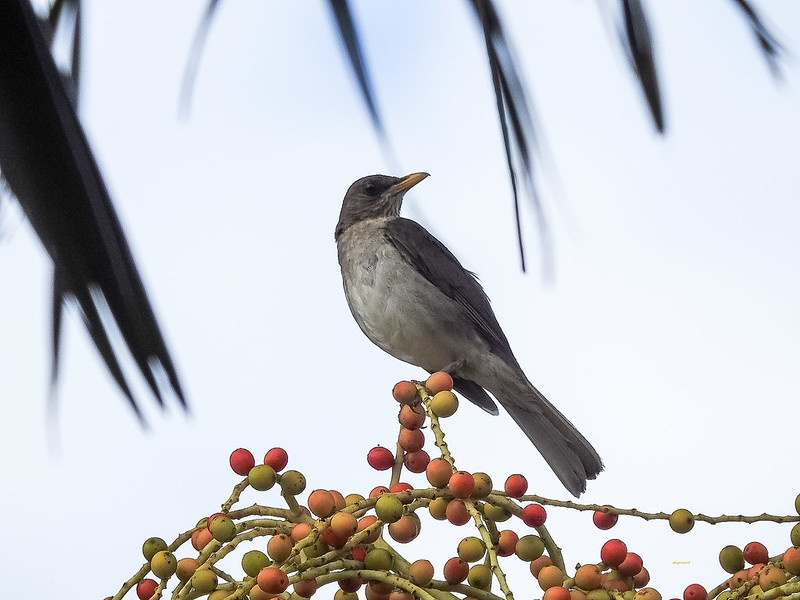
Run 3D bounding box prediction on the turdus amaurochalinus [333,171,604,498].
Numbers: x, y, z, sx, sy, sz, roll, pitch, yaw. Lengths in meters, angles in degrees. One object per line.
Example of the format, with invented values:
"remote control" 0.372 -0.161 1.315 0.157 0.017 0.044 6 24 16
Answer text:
"turdus amaurochalinus" 0.191 0.061 3.417 0.957 0.642 0.302 27 -44 6
